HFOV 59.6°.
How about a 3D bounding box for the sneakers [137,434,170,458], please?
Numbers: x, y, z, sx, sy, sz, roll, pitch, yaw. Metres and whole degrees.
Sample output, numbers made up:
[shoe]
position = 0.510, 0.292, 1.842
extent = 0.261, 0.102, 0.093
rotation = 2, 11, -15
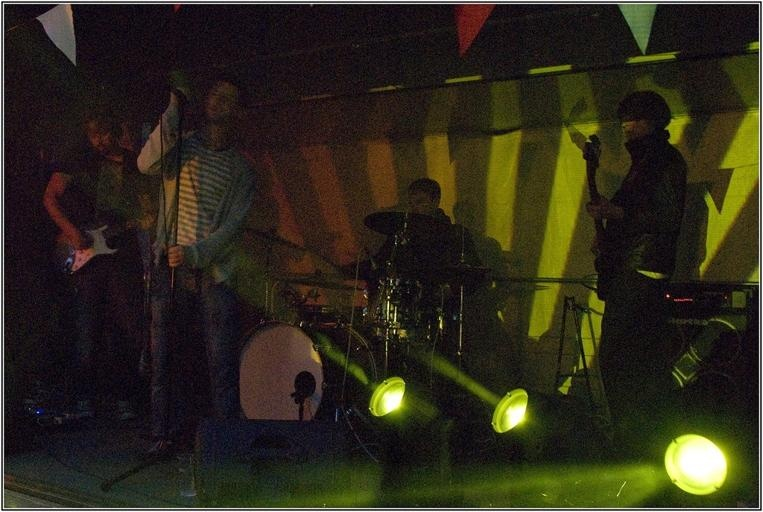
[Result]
[sneakers]
position = -1.670, 1.404, 4.891
extent = 0.121, 0.184, 0.084
rotation = 54, -45, 4

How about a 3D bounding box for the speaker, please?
[speaker]
position = 2.303, 0.684, 4.607
extent = 0.855, 0.819, 0.281
rotation = 4, -12, 25

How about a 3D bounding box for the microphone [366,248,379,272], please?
[microphone]
position = -0.080, 0.042, 5.303
extent = 0.103, 0.104, 0.158
rotation = 56, -5, -6

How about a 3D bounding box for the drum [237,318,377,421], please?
[drum]
position = -0.568, 0.813, 5.132
extent = 1.046, 1.024, 0.712
rotation = 4, 0, 33

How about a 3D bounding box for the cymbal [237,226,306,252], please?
[cymbal]
position = -0.887, -0.141, 5.365
extent = 0.241, 0.099, 0.252
rotation = 26, -4, 1
